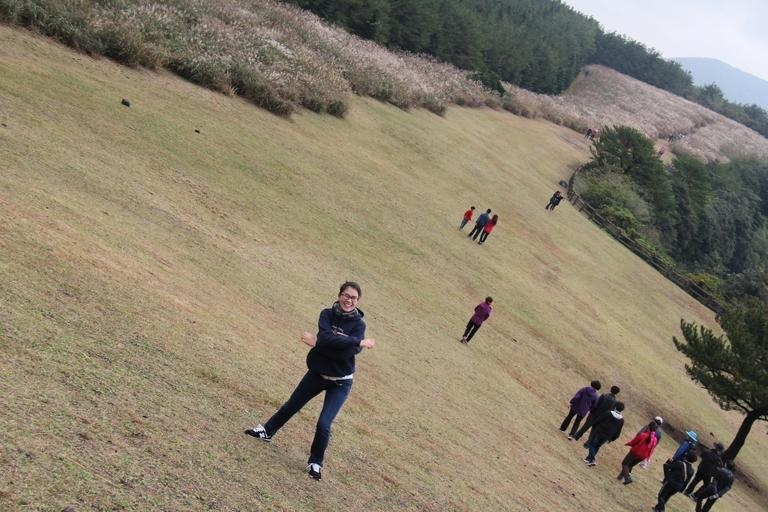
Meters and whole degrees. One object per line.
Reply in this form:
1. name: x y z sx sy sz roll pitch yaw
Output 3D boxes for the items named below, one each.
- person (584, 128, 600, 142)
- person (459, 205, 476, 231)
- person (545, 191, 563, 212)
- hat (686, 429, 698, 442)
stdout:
1. person: 22.933 -13.651 149.925 1.168 1.328 2.097 18 -21 18
2. person: 6.919 -3.172 113.385 0.667 2.027 0.873 13 45 -23
3. person: 15.524 -4.925 122.582 0.704 1.837 1.393 24 23 -35
4. hat: 22.387 12.894 98.042 0.229 0.871 0.626 -18 6 -22
